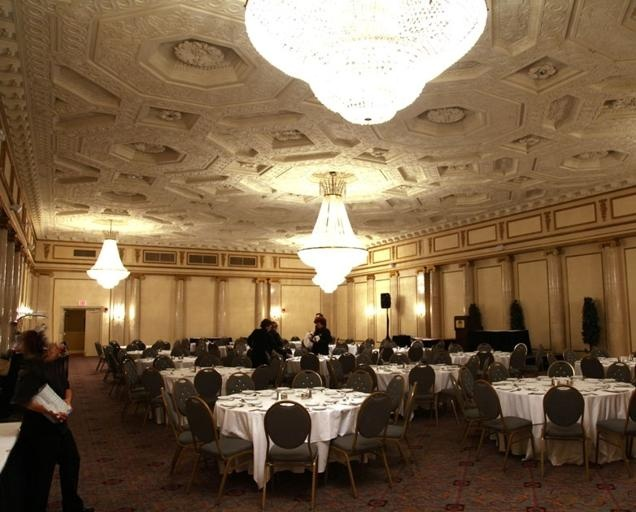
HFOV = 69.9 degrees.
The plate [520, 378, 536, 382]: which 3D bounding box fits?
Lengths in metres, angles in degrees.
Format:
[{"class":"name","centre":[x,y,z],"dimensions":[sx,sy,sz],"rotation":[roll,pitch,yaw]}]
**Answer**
[{"class":"plate","centre":[3.304,1.930,7.100],"dimensions":[0.150,0.032,0.134],"rotation":[9,-14,-37]}]

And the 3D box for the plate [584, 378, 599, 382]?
[{"class":"plate","centre":[4.298,1.927,7.073],"dimensions":[0.126,0.026,0.122],"rotation":[-2,-6,20]}]

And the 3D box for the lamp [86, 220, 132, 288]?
[{"class":"lamp","centre":[-6.237,0.056,13.565],"dimensions":[1.028,1.836,0.903],"rotation":[-3,1,-22]}]

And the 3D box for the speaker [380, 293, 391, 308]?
[{"class":"speaker","centre":[2.653,1.692,17.485],"dimensions":[0.351,0.385,0.543],"rotation":[-2,-1,2]}]

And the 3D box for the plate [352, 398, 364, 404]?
[{"class":"plate","centre":[0.507,1.792,5.648],"dimensions":[0.108,0.025,0.110],"rotation":[-5,-10,30]}]

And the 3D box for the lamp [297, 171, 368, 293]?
[{"class":"lamp","centre":[0.364,-0.652,10.508],"dimensions":[1.359,1.893,2.761],"rotation":[-2,-1,2]}]
